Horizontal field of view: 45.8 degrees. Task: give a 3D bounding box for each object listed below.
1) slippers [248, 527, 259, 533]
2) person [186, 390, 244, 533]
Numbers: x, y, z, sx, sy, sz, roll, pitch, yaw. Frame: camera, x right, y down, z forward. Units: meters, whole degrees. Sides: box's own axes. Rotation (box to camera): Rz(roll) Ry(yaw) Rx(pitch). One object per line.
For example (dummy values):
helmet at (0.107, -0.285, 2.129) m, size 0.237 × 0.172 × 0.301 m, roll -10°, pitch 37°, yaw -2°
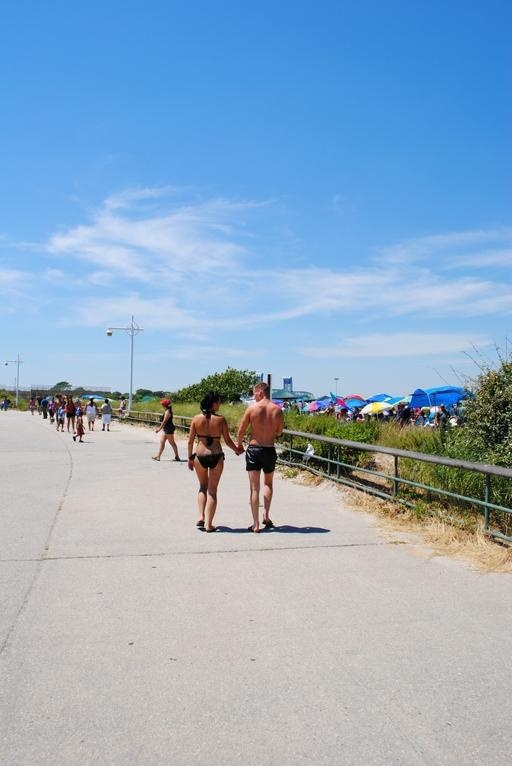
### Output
slippers at (-0.028, 1.676, 6.929) m, size 0.052 × 0.047 × 0.111 m, roll 4°, pitch -1°, yaw -15°
person at (-0.534, 0.909, 7.157) m, size 0.550 × 1.137 × 0.667 m, roll 2°, pitch -1°, yaw -5°
